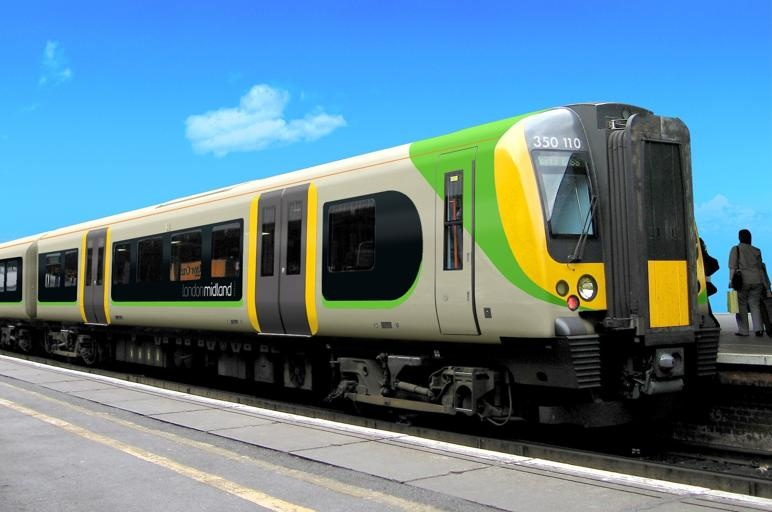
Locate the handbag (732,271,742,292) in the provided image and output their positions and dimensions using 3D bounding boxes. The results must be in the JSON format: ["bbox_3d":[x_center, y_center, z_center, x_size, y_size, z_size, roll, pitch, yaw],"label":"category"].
[{"bbox_3d":[6.372,0.456,11.139,0.122,0.341,0.148,2,-3,-21],"label":"handbag"}]

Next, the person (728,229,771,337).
[{"bbox_3d":[6.729,0.505,11.310,1.025,1.920,0.484,2,-3,-25],"label":"person"}]
